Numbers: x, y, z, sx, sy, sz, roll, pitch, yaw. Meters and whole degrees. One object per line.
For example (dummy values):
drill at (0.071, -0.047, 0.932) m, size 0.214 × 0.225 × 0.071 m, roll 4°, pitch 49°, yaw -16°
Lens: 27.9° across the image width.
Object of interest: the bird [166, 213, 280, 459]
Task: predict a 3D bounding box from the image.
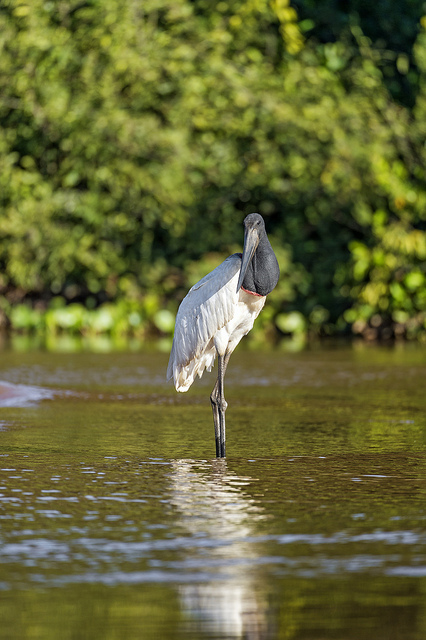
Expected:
bird at (0.045, 0.386, 6.752) m, size 0.847 × 2.361 × 1.242 m, roll 3°, pitch 37°, yaw 3°
